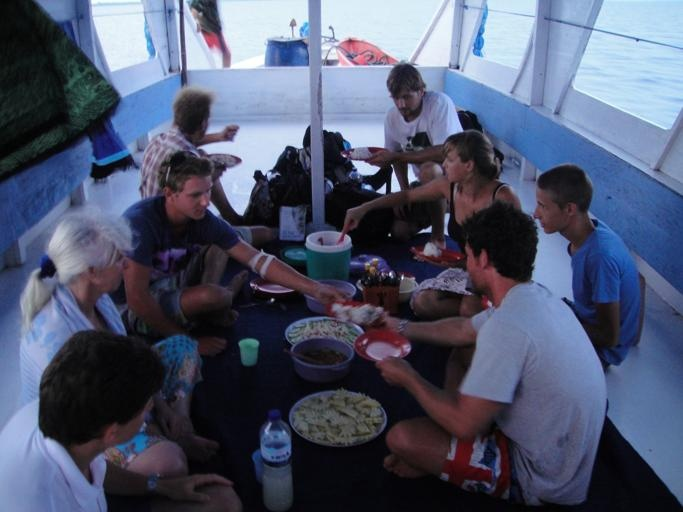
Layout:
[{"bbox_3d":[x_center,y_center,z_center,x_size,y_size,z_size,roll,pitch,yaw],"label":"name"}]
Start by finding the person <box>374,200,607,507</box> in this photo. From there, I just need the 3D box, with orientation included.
[{"bbox_3d":[0.741,0.287,2.294,1.086,1.312,0.961,6,13,33],"label":"person"}]

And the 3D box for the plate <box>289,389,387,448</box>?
[{"bbox_3d":[-0.034,0.735,2.179,0.412,0.051,0.413,-5,14,-34],"label":"plate"}]

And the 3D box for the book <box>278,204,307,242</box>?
[{"bbox_3d":[-0.403,-0.284,4.003,0.228,0.306,0.108,1,33,-7],"label":"book"}]

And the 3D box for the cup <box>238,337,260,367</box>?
[{"bbox_3d":[-0.495,0.509,2.611,0.127,0.140,0.130,2,30,-1],"label":"cup"}]

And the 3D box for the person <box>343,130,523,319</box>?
[{"bbox_3d":[0.621,-0.205,3.246,1.081,1.171,0.595,-3,8,-6],"label":"person"}]

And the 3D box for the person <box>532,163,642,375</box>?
[{"bbox_3d":[1.335,0.054,2.761,0.647,1.062,0.736,-6,13,10],"label":"person"}]

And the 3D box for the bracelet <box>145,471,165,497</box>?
[{"bbox_3d":[-0.711,0.873,1.839,0.039,0.071,0.068,1,5,-6],"label":"bracelet"}]

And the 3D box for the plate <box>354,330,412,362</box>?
[{"bbox_3d":[0.195,0.436,2.346,0.227,0.057,0.233,-3,20,-24],"label":"plate"}]

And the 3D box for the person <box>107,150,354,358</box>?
[{"bbox_3d":[-0.655,-0.050,2.769,1.334,1.051,0.734,1,21,4],"label":"person"}]

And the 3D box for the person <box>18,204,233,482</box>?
[{"bbox_3d":[-0.931,0.407,2.008,0.716,1.061,0.742,-3,15,-21],"label":"person"}]

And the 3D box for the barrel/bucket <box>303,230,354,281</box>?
[{"bbox_3d":[-0.092,0.012,3.219,0.279,0.276,0.295,2,21,-1],"label":"barrel/bucket"}]
